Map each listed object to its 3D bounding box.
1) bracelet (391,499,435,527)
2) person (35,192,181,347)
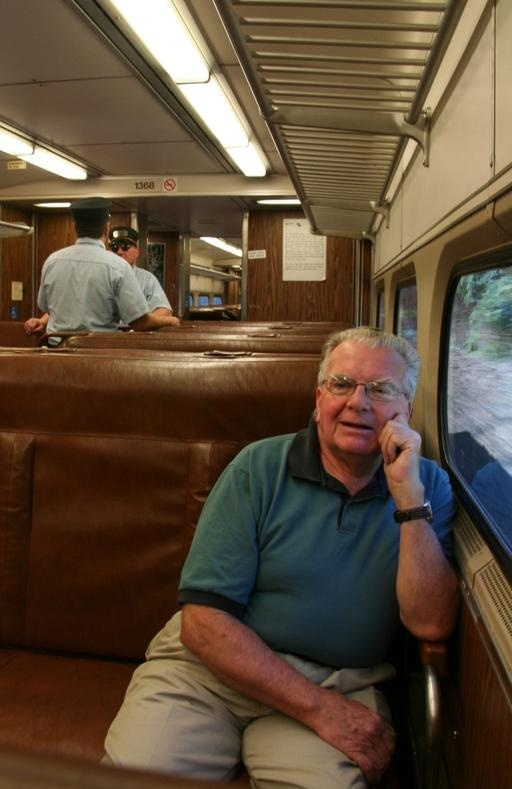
[{"bbox_3d":[0.383,0.293,1.315,0.078,0.052,0.080,-4,-1,-20],"label":"bracelet"},{"bbox_3d":[-1.202,-0.930,4.057,1.188,1.048,0.614,8,11,12],"label":"person"}]
